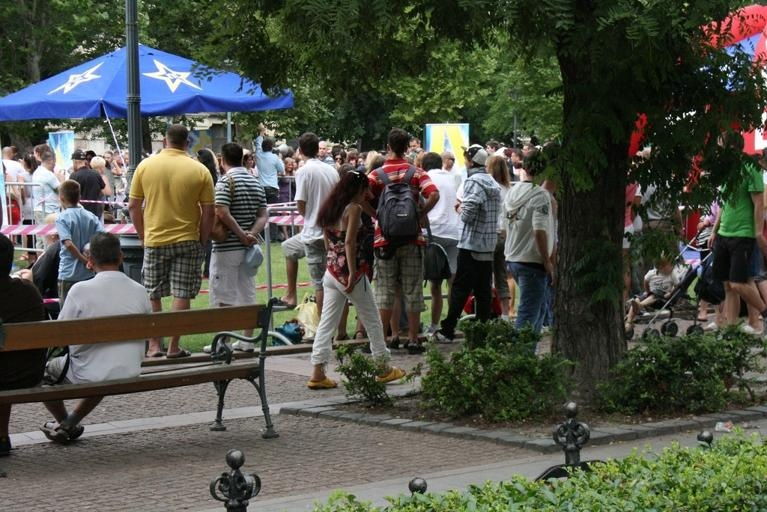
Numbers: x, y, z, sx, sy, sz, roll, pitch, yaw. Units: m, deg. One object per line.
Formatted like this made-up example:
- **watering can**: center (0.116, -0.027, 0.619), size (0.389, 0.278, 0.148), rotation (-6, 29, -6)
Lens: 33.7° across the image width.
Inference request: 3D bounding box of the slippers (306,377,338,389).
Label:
- **slippers**: center (-0.682, 1.418, 14.235), size (0.275, 0.118, 0.140), rotation (-1, 1, -23)

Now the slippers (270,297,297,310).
- **slippers**: center (-1.291, 0.631, 16.442), size (0.216, 0.156, 0.403), rotation (0, -3, -5)

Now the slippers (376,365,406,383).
- **slippers**: center (0.102, 1.284, 13.742), size (0.379, 0.147, 0.142), rotation (-5, 4, -22)

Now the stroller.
- **stroller**: center (3.904, 0.319, 17.261), size (1.331, 1.422, 0.998), rotation (1, 9, -2)

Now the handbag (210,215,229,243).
- **handbag**: center (-1.995, -0.348, 15.374), size (0.183, 0.397, 0.340), rotation (1, 1, 32)

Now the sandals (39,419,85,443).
- **sandals**: center (-3.158, 1.727, 12.467), size (0.334, 0.200, 0.126), rotation (4, 13, 6)

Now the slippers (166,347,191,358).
- **slippers**: center (-2.497, 1.172, 15.416), size (0.244, 0.092, 0.107), rotation (-1, 4, -33)

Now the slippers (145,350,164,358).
- **slippers**: center (-2.792, 1.195, 15.478), size (0.190, 0.080, 0.081), rotation (4, 3, 27)

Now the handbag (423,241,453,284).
- **handbag**: center (0.721, 0.089, 16.420), size (0.268, 0.454, 0.469), rotation (3, -8, 2)
